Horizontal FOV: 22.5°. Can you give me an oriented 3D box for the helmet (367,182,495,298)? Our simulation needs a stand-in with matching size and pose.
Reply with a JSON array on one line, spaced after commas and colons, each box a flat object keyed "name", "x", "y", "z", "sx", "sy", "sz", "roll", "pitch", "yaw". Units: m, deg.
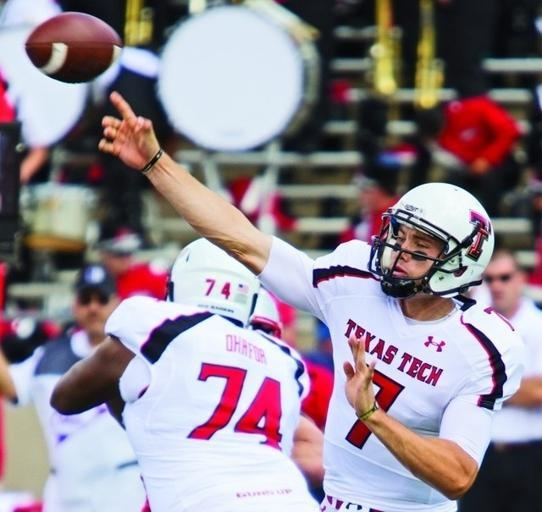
[{"name": "helmet", "x": 0.614, "y": -0.091, "z": 5.640, "sx": 0.420, "sy": 0.528, "sz": 0.412, "roll": 36, "pitch": 115, "yaw": 41}]

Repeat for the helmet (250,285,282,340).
[{"name": "helmet", "x": -0.032, "y": 0.257, "z": 5.908, "sx": 0.100, "sy": 0.096, "sz": 0.238, "roll": 9, "pitch": 105, "yaw": 45}]

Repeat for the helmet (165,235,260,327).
[{"name": "helmet", "x": -0.211, "y": 0.093, "z": 5.739, "sx": 0.313, "sy": 0.355, "sz": 0.393, "roll": -5, "pitch": 95, "yaw": 16}]

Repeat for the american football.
[{"name": "american football", "x": -0.877, "y": -0.908, "z": 5.964, "sx": 0.370, "sy": 0.469, "sz": 0.290, "roll": 2, "pitch": 94, "yaw": 44}]
